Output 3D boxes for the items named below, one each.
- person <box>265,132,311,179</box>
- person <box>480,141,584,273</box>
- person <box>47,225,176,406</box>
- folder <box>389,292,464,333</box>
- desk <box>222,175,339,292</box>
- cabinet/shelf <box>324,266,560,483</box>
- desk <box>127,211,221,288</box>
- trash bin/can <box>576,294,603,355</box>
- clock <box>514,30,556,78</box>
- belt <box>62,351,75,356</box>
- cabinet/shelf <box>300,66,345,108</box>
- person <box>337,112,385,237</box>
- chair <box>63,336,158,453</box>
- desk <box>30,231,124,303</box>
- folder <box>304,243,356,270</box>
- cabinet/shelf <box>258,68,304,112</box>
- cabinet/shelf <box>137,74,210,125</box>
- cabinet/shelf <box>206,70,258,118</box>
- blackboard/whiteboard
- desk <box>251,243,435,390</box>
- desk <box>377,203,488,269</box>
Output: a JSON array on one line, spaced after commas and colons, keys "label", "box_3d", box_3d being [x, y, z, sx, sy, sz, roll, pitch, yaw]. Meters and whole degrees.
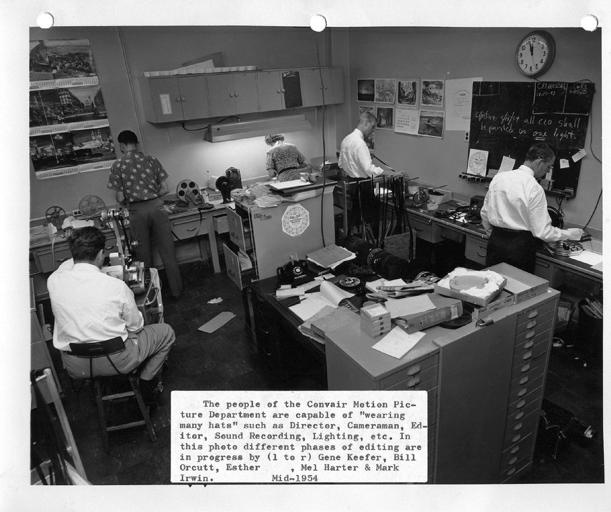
[{"label": "person", "box_3d": [-0.205, -1.055, 5.297, 0.435, 0.487, 1.244, -6, 18, -1]}, {"label": "person", "box_3d": [1.584, -0.331, 3.583, 0.543, 0.942, 0.332, 3, 19, 25]}, {"label": "person", "box_3d": [-1.248, 0.435, 3.126, 0.445, 1.243, 0.620, 4, 20, 28]}, {"label": "folder", "box_3d": [0.623, 0.292, 2.381, 0.207, 0.052, 0.204, -16, 22, -28]}, {"label": "desk", "box_3d": [-0.353, -0.303, 4.568, 1.027, 1.080, 0.707, -9, 21, -20]}, {"label": "cabinet/shelf", "box_3d": [0.748, 0.820, 2.639, 1.198, 1.164, 0.411, -11, 21, -29]}, {"label": "desk", "box_3d": [-1.320, -0.138, 5.115, 0.621, 0.586, 0.418, -15, 9, -32]}, {"label": "trash bin/can", "box_3d": [2.115, 0.514, 3.606, 0.165, 0.361, 0.231, 4, 20, 29]}, {"label": "clock", "box_3d": [1.908, -1.673, 4.001, 0.074, 0.437, 0.419, -6, 8, -25]}, {"label": "belt", "box_3d": [-1.426, 0.579, 2.922, 0.041, 0.012, 0.039, 16, 18, 39]}, {"label": "cabinet/shelf", "box_3d": [0.177, -2.054, 5.916, 0.677, 0.487, 0.417, -14, 23, -33]}, {"label": "person", "box_3d": [0.579, -0.863, 4.945, 0.416, 1.153, 1.348, -4, 18, 5]}, {"label": "chair", "box_3d": [-1.223, 0.880, 3.091, 0.431, 0.780, 0.568, -9, 28, -14]}, {"label": "desk", "box_3d": [-2.410, 0.015, 4.965, 1.031, 0.661, 0.381, -17, 45, -20]}, {"label": "folder", "box_3d": [0.201, 0.001, 3.681, 0.221, 0.053, 0.217, -23, 35, -33]}, {"label": "cabinet/shelf", "box_3d": [-0.255, -1.952, 5.768, 0.561, 0.436, 0.323, -1, 13, 13]}, {"label": "cabinet/shelf", "box_3d": [-1.370, -1.701, 5.298, 0.659, 0.469, 0.348, -14, 20, -27]}, {"label": "cabinet/shelf", "box_3d": [-0.807, -1.791, 5.560, 0.631, 0.471, 0.343, -5, -1, -5]}, {"label": "blackboard/whiteboard", "box_3d": [1.916, -1.002, 4.045, 0.111, 0.893, 1.037, -11, 18, -25]}, {"label": "desk", "box_3d": [0.165, 0.549, 3.579, 0.916, 0.973, 1.309, -13, 27, -29]}, {"label": "desk", "box_3d": [1.315, -0.167, 4.862, 0.621, 0.263, 1.115, -6, 24, -20]}]
